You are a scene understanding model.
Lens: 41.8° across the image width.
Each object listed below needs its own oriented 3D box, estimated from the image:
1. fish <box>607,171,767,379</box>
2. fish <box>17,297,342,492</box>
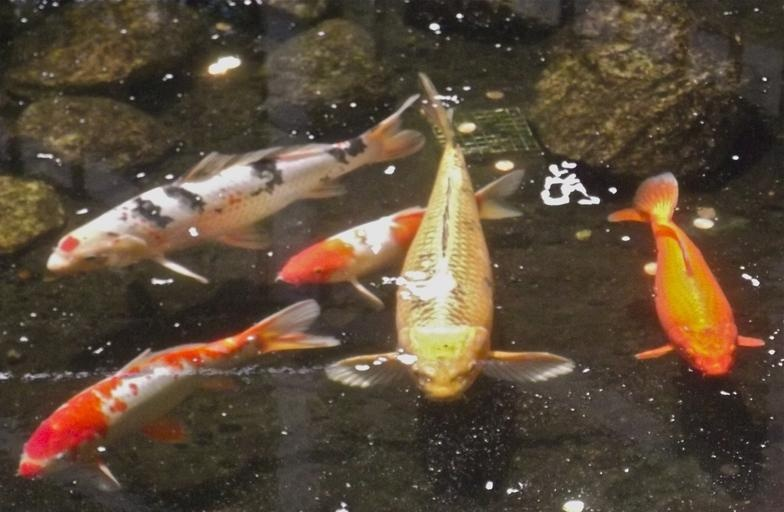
[{"bbox_3d":[1.459,0.142,5.137,0.729,0.441,1.174,-8,49,2],"label":"fish"},{"bbox_3d":[-1.052,0.639,4.809,1.463,0.240,0.478,-34,70,-12],"label":"fish"}]
